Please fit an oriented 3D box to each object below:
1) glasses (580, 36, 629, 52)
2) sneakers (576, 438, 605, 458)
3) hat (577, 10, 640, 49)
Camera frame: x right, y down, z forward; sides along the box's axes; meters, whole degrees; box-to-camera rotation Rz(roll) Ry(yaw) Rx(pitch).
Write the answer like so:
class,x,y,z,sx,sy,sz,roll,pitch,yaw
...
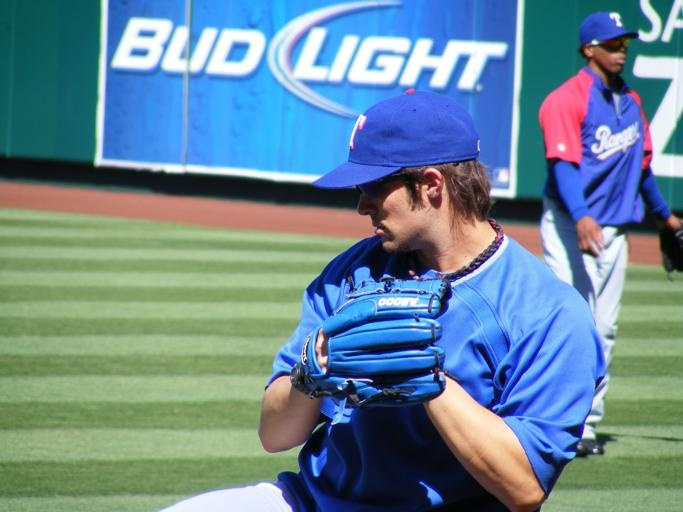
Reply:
class,x,y,z,sx,sy,sz,roll,pitch,yaw
glasses,2.539,-2.000,16.585,0.265,0.092,0.196,-9,1,28
sneakers,2.368,1.812,16.419,0.363,0.156,0.228,5,-5,-29
hat,2.618,-2.143,16.713,0.489,0.353,0.614,-10,7,-30
